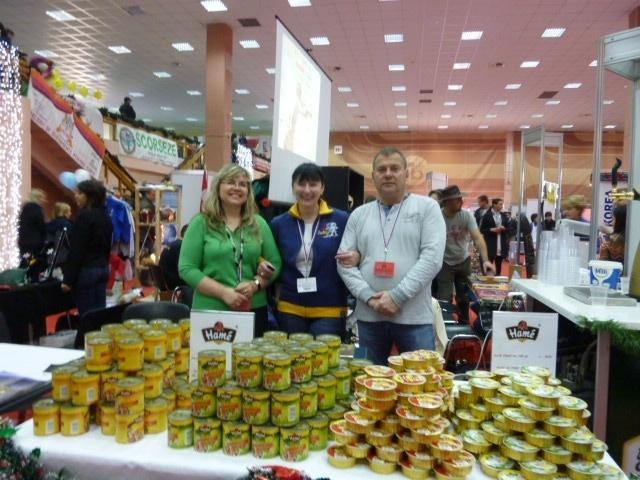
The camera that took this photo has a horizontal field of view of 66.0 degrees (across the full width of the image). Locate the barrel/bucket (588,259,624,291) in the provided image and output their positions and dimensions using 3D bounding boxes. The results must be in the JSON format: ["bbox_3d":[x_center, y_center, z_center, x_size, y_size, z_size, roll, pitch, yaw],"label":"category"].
[{"bbox_3d":[1.828,0.215,3.152,0.184,0.189,0.156,0,-1,42],"label":"barrel/bucket"}]

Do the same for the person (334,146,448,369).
[{"bbox_3d":[0.453,0.356,3.190,0.624,1.838,0.541,2,12,21],"label":"person"}]

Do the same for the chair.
[{"bbox_3d":[-1.152,0.493,3.051,0.465,0.187,0.339,3,-1,-6],"label":"chair"}]

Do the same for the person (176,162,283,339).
[{"bbox_3d":[-0.546,0.066,3.078,0.642,1.094,0.456,0,4,-18],"label":"person"}]

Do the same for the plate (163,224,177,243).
[{"bbox_3d":[-2.304,-0.107,7.530,0.097,0.294,0.252,4,-6,26],"label":"plate"}]

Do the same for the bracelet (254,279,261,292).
[{"bbox_3d":[-0.391,0.280,3.056,0.045,0.073,0.064,-2,-34,-15],"label":"bracelet"}]

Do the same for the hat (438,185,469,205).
[{"bbox_3d":[1.544,-0.488,5.625,0.245,0.105,0.232,-19,15,2],"label":"hat"}]
